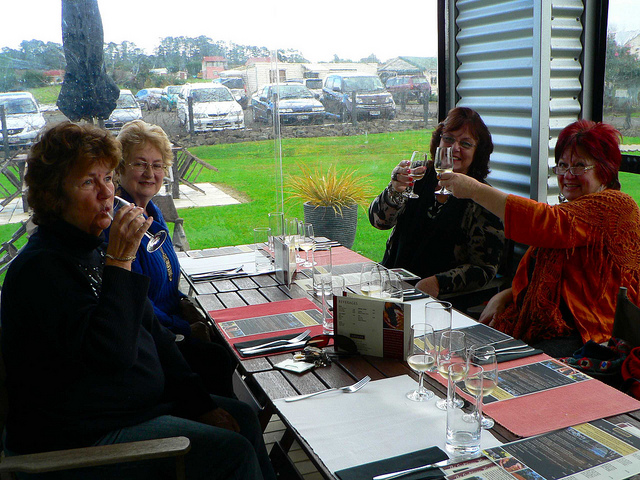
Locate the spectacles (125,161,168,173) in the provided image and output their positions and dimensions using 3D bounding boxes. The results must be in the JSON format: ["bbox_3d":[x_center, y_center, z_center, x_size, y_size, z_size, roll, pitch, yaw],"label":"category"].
[{"bbox_3d":[-0.962,-0.402,2.516,0.216,0.078,0.065,-11,15,-23],"label":"spectacles"}]

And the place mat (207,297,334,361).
[{"bbox_3d":[-0.215,0.400,2.017,0.665,0.024,0.715,0,14,0],"label":"place mat"}]

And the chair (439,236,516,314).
[{"bbox_3d":[0.937,0.216,2.743,0.458,0.559,0.409,-2,5,-12],"label":"chair"}]

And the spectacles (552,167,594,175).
[{"bbox_3d":[1.301,-0.355,2.341,0.068,0.036,0.181,-11,14,-22],"label":"spectacles"}]

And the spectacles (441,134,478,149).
[{"bbox_3d":[0.913,-0.639,2.947,0.214,0.103,0.076,-1,15,17],"label":"spectacles"}]

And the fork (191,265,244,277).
[{"bbox_3d":[-0.594,0.198,2.698,0.323,0.022,0.092,-12,15,-28],"label":"fork"}]

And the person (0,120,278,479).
[{"bbox_3d":[-0.655,0.125,2.566,1.411,2.143,1.126,-6,4,-19],"label":"person"}]

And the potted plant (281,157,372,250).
[{"bbox_3d":[0.118,-0.371,4.924,0.962,0.935,0.930,-1,6,-12],"label":"potted plant"}]

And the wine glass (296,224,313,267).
[{"bbox_3d":[-0.088,0.033,2.991,0.125,0.294,0.115,-5,11,-10],"label":"wine glass"}]

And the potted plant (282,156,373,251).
[{"bbox_3d":[0.091,-0.229,4.834,0.735,0.732,0.747,-11,5,-28],"label":"potted plant"}]

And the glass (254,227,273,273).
[{"bbox_3d":[-0.370,0.027,2.912,0.126,0.255,0.463,-8,14,-7],"label":"glass"}]

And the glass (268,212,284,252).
[{"bbox_3d":[-0.247,-0.017,2.656,0.096,0.247,0.318,-7,14,-6],"label":"glass"}]

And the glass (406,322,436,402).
[{"bbox_3d":[0.341,0.409,1.514,0.104,0.239,0.110,-3,5,-26],"label":"glass"}]

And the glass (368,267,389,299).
[{"bbox_3d":[0.259,0.171,1.932,0.073,0.097,0.200,1,15,25],"label":"glass"}]

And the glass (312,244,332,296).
[{"bbox_3d":[0.012,0.171,2.679,0.126,0.284,0.110,-3,26,-8],"label":"glass"}]

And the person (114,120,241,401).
[{"bbox_3d":[-0.896,0.189,2.508,0.811,1.591,0.700,-3,8,-21],"label":"person"}]

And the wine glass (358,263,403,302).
[{"bbox_3d":[0.250,0.184,1.906,0.193,0.152,0.117,7,3,10],"label":"wine glass"}]
